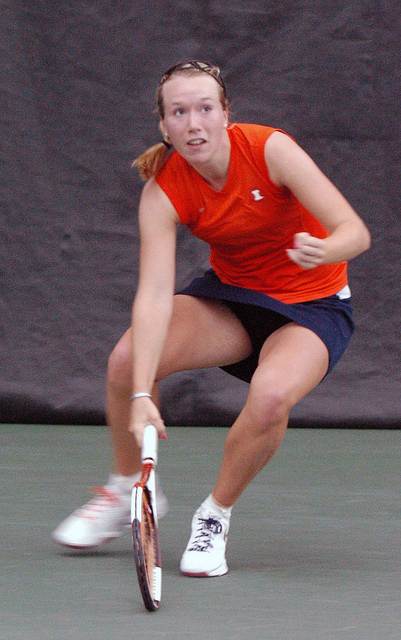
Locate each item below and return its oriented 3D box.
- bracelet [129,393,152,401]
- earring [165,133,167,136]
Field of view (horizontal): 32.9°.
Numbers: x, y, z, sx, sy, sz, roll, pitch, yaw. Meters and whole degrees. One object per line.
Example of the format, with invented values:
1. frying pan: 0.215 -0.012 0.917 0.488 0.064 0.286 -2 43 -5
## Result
1. bracelet: -0.105 0.131 1.163 0.033 0.017 0.017 -1 39 -2
2. earring: -0.068 -0.360 1.315 0.004 0.004 0.004 -5 7 6
